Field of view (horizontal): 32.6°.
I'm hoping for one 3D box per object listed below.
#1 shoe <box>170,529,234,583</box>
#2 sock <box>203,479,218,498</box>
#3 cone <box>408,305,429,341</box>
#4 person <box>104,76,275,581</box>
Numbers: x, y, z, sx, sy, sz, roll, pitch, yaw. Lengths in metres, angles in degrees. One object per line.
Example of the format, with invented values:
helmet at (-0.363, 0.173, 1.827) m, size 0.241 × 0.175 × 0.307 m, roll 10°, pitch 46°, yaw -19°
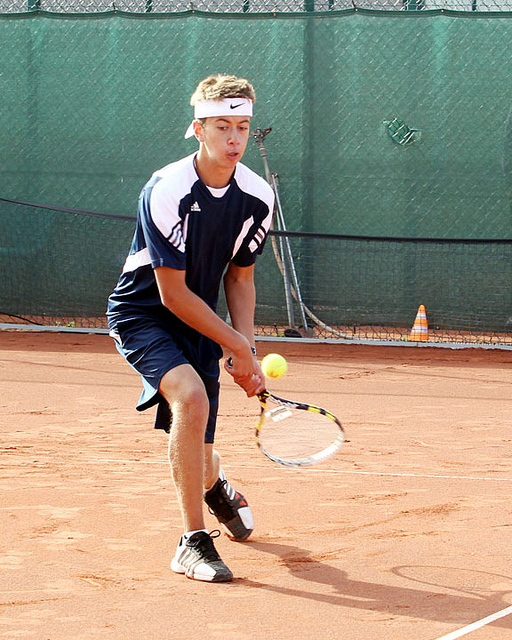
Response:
shoe at (-0.154, 0.678, 2.524) m, size 0.104 × 0.132 × 0.178 m, roll 0°, pitch -2°, yaw -41°
sock at (-0.157, 0.551, 2.846) m, size 0.059 × 0.059 × 0.036 m, roll 11°, pitch -5°, yaw -10°
cone at (1.660, 0.023, 8.967) m, size 0.200 × 0.374 × 0.344 m, roll -2°, pitch -2°, yaw 10°
person at (-0.173, -0.009, 2.764) m, size 0.530 × 1.517 × 0.576 m, roll -1°, pitch -2°, yaw -22°
